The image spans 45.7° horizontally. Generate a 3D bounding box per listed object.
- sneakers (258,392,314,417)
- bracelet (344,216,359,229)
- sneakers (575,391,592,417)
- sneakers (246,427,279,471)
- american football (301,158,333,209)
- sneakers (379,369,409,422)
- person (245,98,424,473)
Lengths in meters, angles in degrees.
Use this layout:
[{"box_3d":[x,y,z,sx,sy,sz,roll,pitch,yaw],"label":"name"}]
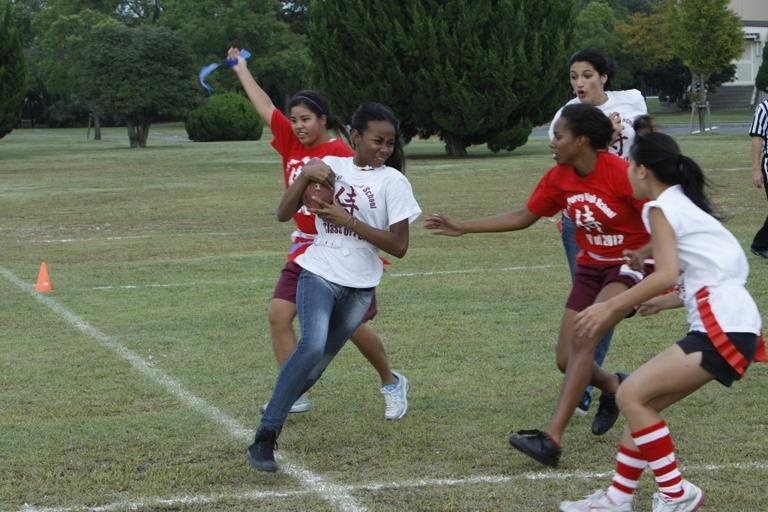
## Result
[{"box_3d":[-0.735,1.167,7.256,0.509,0.191,0.160,1,7,-14],"label":"sneakers"},{"box_3d":[-0.232,-0.236,6.487,0.088,0.041,0.095,2,-35,4],"label":"bracelet"},{"box_3d":[1.607,1.170,7.359,0.142,0.158,0.402,3,7,18],"label":"sneakers"},{"box_3d":[-0.846,1.371,6.341,0.210,0.352,0.219,-1,11,2],"label":"sneakers"},{"box_3d":[-0.482,-0.457,6.591,0.137,0.214,0.175,27,-14,-2],"label":"american football"},{"box_3d":[0.112,1.104,7.236,0.154,0.396,0.195,-25,-53,29],"label":"sneakers"},{"box_3d":[-0.377,0.166,6.659,1.404,2.503,0.631,-8,13,-31],"label":"person"}]
